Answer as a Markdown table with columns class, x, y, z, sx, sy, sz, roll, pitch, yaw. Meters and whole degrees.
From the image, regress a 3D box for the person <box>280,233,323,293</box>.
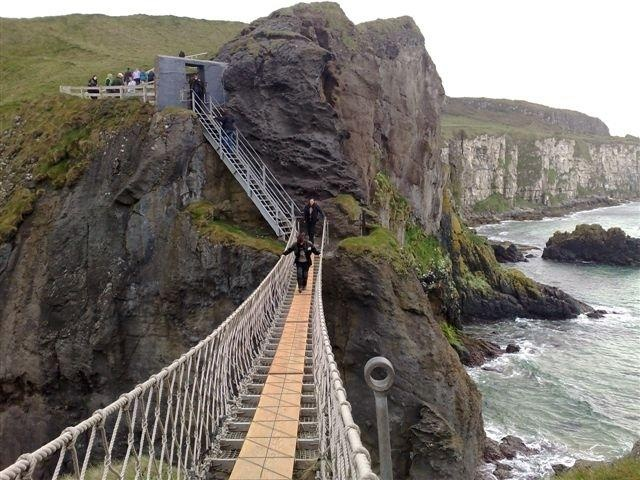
| class | x | y | z | sx | sy | sz | roll | pitch | yaw |
| --- | --- | --- | --- | --- | --- | --- | --- | --- | --- |
| person | -0.730 | 0.765 | 21.478 | 1.116 | 2.164 | 1.404 | 2 | 14 | 2 |

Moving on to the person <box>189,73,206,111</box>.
| class | x | y | z | sx | sy | sz | roll | pitch | yaw |
| --- | --- | --- | --- | --- | --- | --- | --- | --- | --- |
| person | -5.882 | -7.250 | 27.014 | 0.603 | 0.376 | 1.553 | 2 | -38 | -6 |
